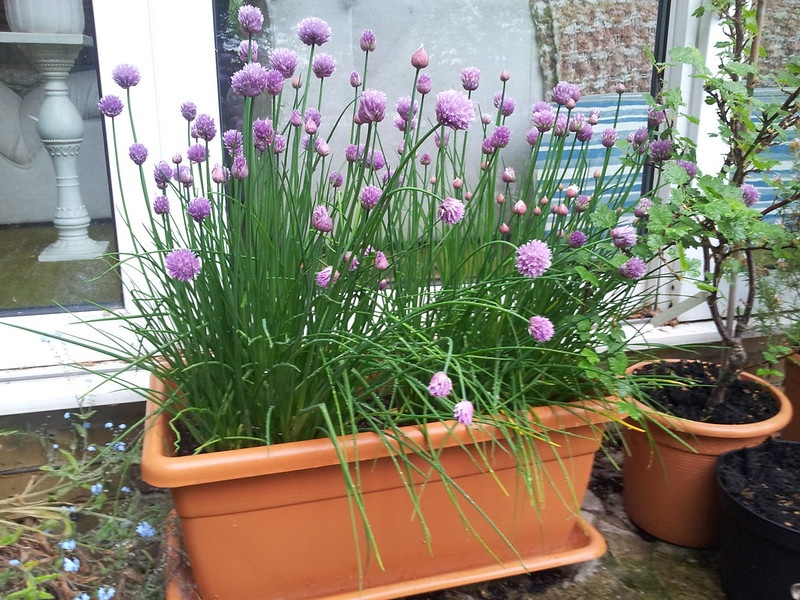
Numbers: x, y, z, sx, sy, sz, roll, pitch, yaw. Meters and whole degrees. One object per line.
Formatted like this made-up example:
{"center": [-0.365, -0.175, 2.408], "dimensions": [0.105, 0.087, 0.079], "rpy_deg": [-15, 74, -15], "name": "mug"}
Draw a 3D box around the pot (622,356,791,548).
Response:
{"center": [0.788, 0.455, 1.899], "dimensions": [0.503, 0.373, 0.475], "rpy_deg": [0, 17, 0], "name": "pot"}
